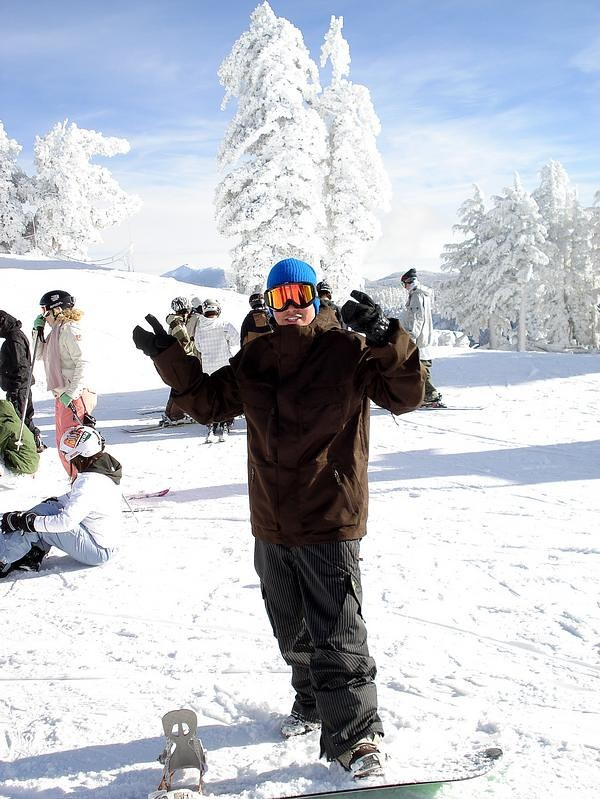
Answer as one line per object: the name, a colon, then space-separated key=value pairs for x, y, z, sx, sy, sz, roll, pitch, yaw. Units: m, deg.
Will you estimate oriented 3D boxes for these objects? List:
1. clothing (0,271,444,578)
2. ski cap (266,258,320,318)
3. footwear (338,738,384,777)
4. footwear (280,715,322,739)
clothing: x=-0.043 y=0.060 z=3.804 sx=1.185 sy=1.364 sz=0.648 roll=0 pitch=11 yaw=7
ski cap: x=-0.031 y=-0.493 z=3.745 sx=0.197 sy=0.180 sz=0.225 roll=-5 pitch=-23 yaw=3
footwear: x=0.268 y=1.545 z=3.640 sx=0.138 sy=0.102 sz=0.215 roll=-8 pitch=-17 yaw=-5
footwear: x=-0.007 y=1.560 z=4.007 sx=0.167 sy=0.045 sz=0.099 roll=3 pitch=-5 yaw=-13
